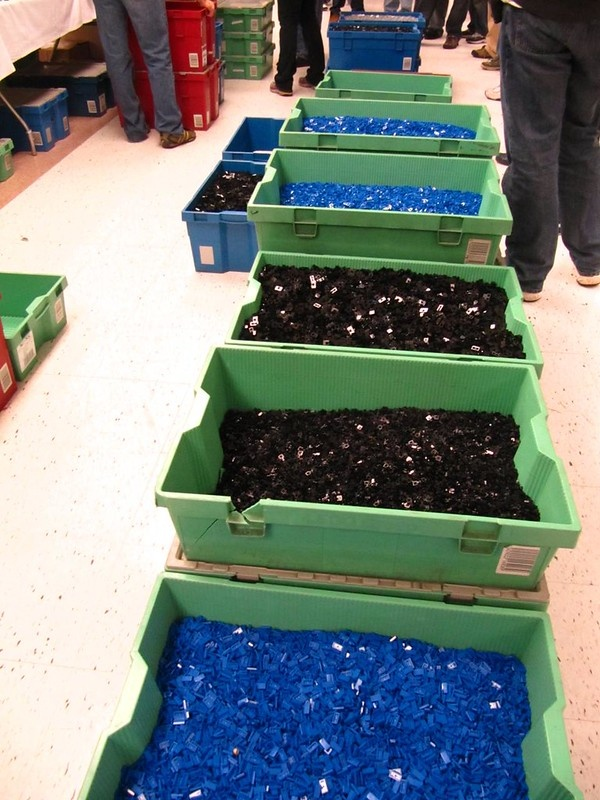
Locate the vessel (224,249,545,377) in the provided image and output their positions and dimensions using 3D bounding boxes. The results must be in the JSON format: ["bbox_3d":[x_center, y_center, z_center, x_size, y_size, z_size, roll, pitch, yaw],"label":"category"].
[{"bbox_3d":[0.282,-0.342,2.205,0.810,0.183,0.508,4,51,5],"label":"vessel"}]

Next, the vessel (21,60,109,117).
[{"bbox_3d":[-1.702,-2.353,4.786,0.612,0.292,0.410,1,47,2],"label":"vessel"}]

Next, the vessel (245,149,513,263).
[{"bbox_3d":[0.295,-0.714,2.322,0.976,0.221,0.658,4,45,5],"label":"vessel"}]

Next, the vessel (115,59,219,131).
[{"bbox_3d":[-0.886,-2.232,4.662,0.622,0.377,0.621,-8,23,-12],"label":"vessel"}]

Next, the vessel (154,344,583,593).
[{"bbox_3d":[0.148,0.221,1.444,0.868,0.287,0.608,4,45,5],"label":"vessel"}]

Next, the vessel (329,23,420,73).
[{"bbox_3d":[0.546,-2.540,4.704,0.658,0.285,0.419,2,45,4],"label":"vessel"}]

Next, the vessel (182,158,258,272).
[{"bbox_3d":[-0.330,-0.904,3.115,0.391,0.315,0.617,3,46,4],"label":"vessel"}]
